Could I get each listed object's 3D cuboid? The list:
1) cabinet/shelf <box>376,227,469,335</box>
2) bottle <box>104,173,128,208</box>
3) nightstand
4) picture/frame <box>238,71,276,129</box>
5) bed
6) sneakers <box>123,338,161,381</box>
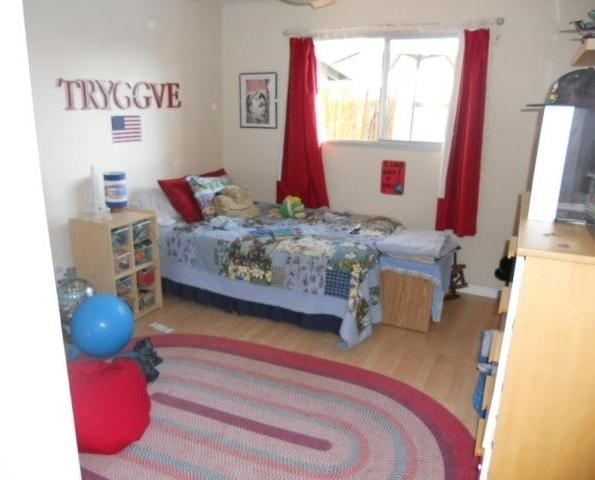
[{"bbox_3d":[0.915,0.298,3.743,0.526,0.670,0.542,9,19,24],"label":"cabinet/shelf"},{"bbox_3d":[-1.452,-0.406,3.728,0.162,0.282,0.290,-7,19,-23],"label":"bottle"},{"bbox_3d":[-1.421,0.189,3.662,0.473,0.812,0.535,10,19,26],"label":"nightstand"},{"bbox_3d":[-0.410,-1.479,4.893,0.497,0.637,0.027,12,23,26],"label":"picture/frame"},{"bbox_3d":[-0.180,0.175,3.723,1.320,0.399,1.162,9,23,25],"label":"bed"},{"bbox_3d":[-0.977,0.772,2.967,0.233,0.090,0.199,27,27,21],"label":"sneakers"}]
